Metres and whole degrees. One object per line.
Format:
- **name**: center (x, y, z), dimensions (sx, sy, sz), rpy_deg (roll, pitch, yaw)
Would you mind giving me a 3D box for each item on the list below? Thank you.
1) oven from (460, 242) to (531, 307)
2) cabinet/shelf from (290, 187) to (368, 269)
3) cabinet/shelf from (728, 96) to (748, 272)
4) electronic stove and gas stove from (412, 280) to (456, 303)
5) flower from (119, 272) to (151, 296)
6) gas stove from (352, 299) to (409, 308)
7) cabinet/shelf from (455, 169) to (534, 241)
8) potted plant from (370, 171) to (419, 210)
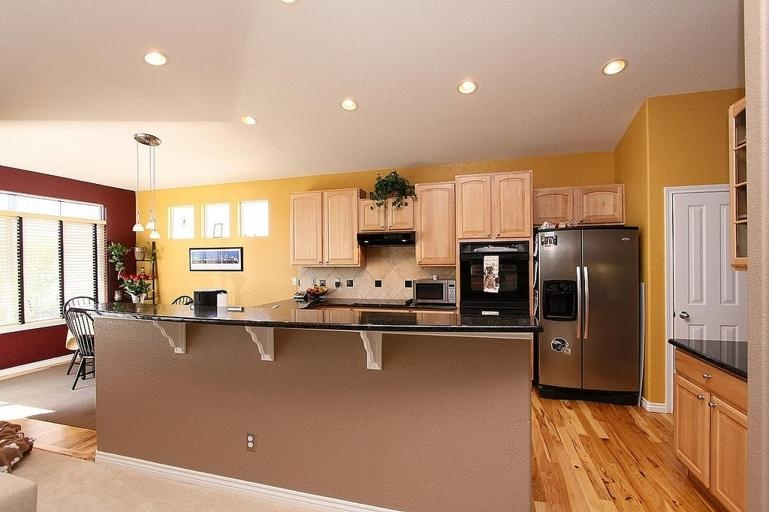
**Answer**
- **oven**: center (1.471, 0.259, 7.067), dimensions (1.111, 1.083, 0.769), rpy_deg (-1, -5, 18)
- **cabinet/shelf**: center (-0.758, -0.398, 7.498), dimensions (1.209, 1.074, 0.420), rpy_deg (0, -1, 17)
- **cabinet/shelf**: center (3.079, -0.622, 4.682), dimensions (0.148, 1.493, 0.314), rpy_deg (-2, 2, 33)
- **electronic stove and gas stove**: center (0.680, 0.468, 7.166), dimensions (0.530, 0.316, 0.320), rpy_deg (-1, -5, 19)
- **flower**: center (-3.688, 0.423, 8.166), dimensions (0.478, 0.310, 0.477), rpy_deg (5, -4, -44)
- **gas stove**: center (0.011, 0.638, 7.383), dimensions (0.848, 0.084, 0.466), rpy_deg (-3, 0, 23)
- **cabinet/shelf**: center (1.403, -0.625, 6.737), dimensions (0.974, 0.777, 0.427), rpy_deg (0, 0, 18)
- **potted plant**: center (0.142, -0.861, 7.238), dimensions (0.567, 0.373, 0.543), rpy_deg (-1, 2, -6)
